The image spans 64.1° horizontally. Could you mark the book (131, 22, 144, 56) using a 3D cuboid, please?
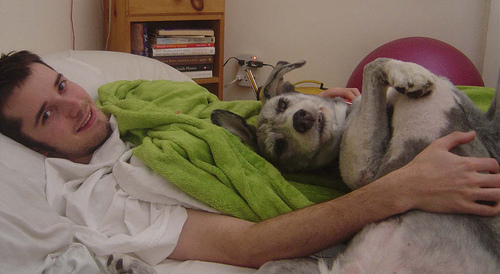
[{"bbox_3d":[-1.088,-0.949,3.856,0.111,0.301,0.077,5,20,8],"label":"book"}]

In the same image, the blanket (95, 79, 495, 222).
[{"bbox_3d":[0.047,0.089,2.681,2.469,0.571,1.181,1,33,0],"label":"blanket"}]

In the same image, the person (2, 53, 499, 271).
[{"bbox_3d":[-0.119,0.340,2.514,2.809,0.479,1.331,8,28,3],"label":"person"}]
